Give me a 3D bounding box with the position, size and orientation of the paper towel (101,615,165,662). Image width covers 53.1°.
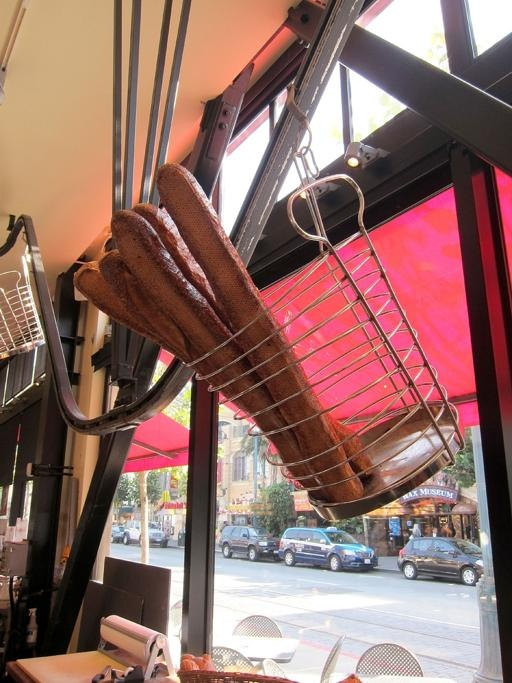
[{"bbox_3d":[-0.436,1.050,1.795,0.299,0.118,0.092,-12,-23,44],"label":"paper towel"}]

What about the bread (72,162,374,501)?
[{"bbox_3d":[0.025,-0.007,0.405,0.132,0.310,0.085,-42,-2,41],"label":"bread"}]
